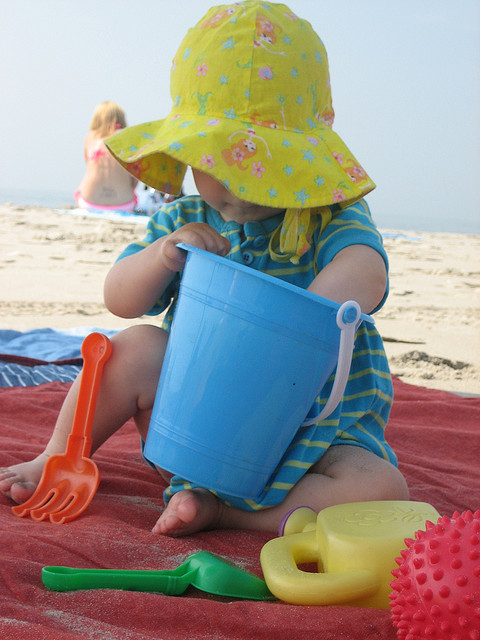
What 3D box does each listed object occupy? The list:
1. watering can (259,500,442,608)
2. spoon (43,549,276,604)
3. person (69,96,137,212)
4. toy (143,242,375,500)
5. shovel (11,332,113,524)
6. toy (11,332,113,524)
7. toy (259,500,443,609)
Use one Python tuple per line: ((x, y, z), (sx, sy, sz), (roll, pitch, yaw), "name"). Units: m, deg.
((0.126, 0.264, 0.930), (0.308, 0.108, 0.177), (1, 8, -6), "watering can")
((-0.096, 0.308, 0.828), (0.281, 0.039, 0.099), (11, -15, -24), "spoon")
((-1.239, -1.581, 6.619), (0.698, 1.070, 0.727), (-6, 19, -27), "person")
((0.000, 0.069, 1.097), (0.392, 0.324, 0.398), (27, -4, -33), "toy")
((-0.253, 0.182, 1.146), (0.112, 0.322, 0.085), (4, -18, 34), "shovel")
((-0.272, 0.181, 1.121), (0.112, 0.316, 0.070), (7, -9, 31), "toy")
((0.141, 0.280, 0.841), (0.172, 0.057, 0.148), (-3, 5, -16), "toy")
